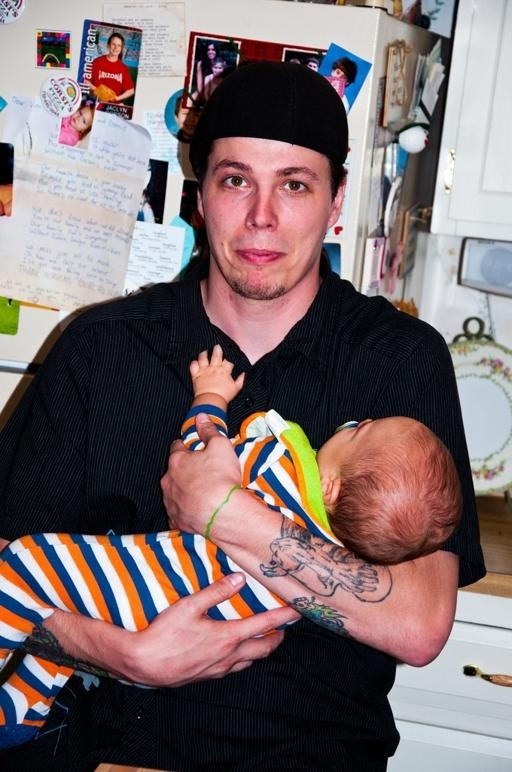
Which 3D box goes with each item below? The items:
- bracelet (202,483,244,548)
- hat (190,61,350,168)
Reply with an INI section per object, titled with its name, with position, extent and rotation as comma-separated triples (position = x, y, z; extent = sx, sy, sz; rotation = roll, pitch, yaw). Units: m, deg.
[bracelet]
position = -0.048, 0.169, 0.798
extent = 0.016, 0.059, 0.062
rotation = 28, 21, 2
[hat]
position = 0.002, -0.385, 0.979
extent = 0.179, 0.115, 0.182
rotation = 6, 7, 41
